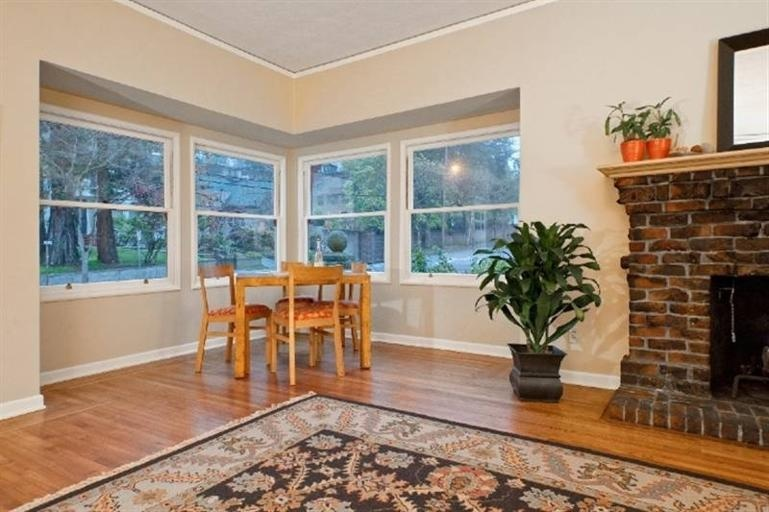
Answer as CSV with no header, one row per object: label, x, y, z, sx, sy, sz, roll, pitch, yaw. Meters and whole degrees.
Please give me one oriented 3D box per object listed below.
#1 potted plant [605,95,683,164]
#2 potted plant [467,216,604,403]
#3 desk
potted plant,2.338,-1.058,4.738,0.669,0.491,0.654,-2,-4,33
potted plant,1.432,0.453,4.781,0.982,1.553,0.879,1,7,18
desk,-0.775,0.601,5.391,1.601,1.086,1.010,-5,7,-35
